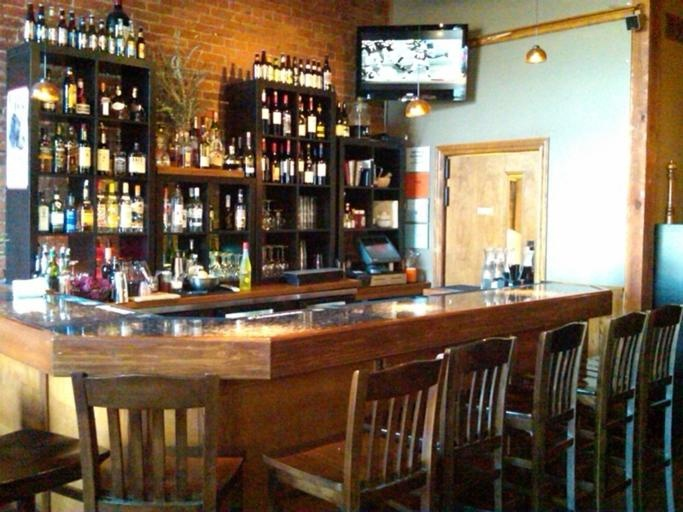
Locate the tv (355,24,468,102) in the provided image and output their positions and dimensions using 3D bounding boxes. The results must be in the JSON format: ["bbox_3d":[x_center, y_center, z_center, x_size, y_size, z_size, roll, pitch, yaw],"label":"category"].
[{"bbox_3d":[0.733,-1.929,6.319,1.118,0.735,0.119,1,6,10],"label":"tv"}]

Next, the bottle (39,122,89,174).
[{"bbox_3d":[-1.989,-0.765,4.543,0.351,0.355,0.202,-5,4,-38],"label":"bottle"}]

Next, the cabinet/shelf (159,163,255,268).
[{"bbox_3d":[-1.133,-0.244,5.246,0.836,0.823,0.261,-1,6,-22],"label":"cabinet/shelf"}]

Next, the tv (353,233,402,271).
[{"bbox_3d":[0.345,-0.016,6.372,0.372,0.365,0.298,-5,6,-37],"label":"tv"}]

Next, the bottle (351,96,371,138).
[{"bbox_3d":[0.183,-1.405,6.625,0.223,0.352,0.222,1,11,0],"label":"bottle"}]

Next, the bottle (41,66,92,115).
[{"bbox_3d":[-1.982,-1.195,4.577,0.306,0.394,0.376,-4,4,-20],"label":"bottle"}]

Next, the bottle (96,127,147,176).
[{"bbox_3d":[-1.650,-0.773,4.769,0.390,0.370,0.128,-2,3,-45],"label":"bottle"}]

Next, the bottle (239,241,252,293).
[{"bbox_3d":[-0.808,0.085,5.253,0.096,0.384,0.184,-3,3,-9],"label":"bottle"}]

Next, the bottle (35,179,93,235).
[{"bbox_3d":[-1.962,-0.331,4.581,0.381,0.379,0.384,2,0,4],"label":"bottle"}]

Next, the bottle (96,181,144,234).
[{"bbox_3d":[-1.666,-0.351,4.768,0.392,0.540,0.157,1,-2,-35],"label":"bottle"}]

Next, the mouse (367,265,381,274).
[{"bbox_3d":[0.314,0.138,6.221,0.077,0.075,0.108,-4,-3,40],"label":"mouse"}]

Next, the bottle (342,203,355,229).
[{"bbox_3d":[0.081,-0.391,6.323,0.097,0.245,0.235,-2,4,7],"label":"bottle"}]

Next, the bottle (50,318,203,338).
[{"bbox_3d":[-1.006,0.337,3.011,0.664,0.055,0.392,-3,4,-7],"label":"bottle"}]

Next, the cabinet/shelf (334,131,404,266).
[{"bbox_3d":[0.280,-0.538,6.501,0.761,1.379,0.336,8,-3,36],"label":"cabinet/shelf"}]

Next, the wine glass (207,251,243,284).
[{"bbox_3d":[-0.979,0.108,5.303,0.263,0.236,0.106,1,-3,-35],"label":"wine glass"}]

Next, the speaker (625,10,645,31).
[{"bbox_3d":[2.425,-1.949,5.266,0.125,0.163,0.134,0,4,35],"label":"speaker"}]

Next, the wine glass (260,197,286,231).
[{"bbox_3d":[-0.613,-0.370,5.746,0.197,0.276,0.445,-3,4,-3],"label":"wine glass"}]

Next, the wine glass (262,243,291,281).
[{"bbox_3d":[-0.631,0.042,5.743,0.263,0.265,0.269,2,4,43],"label":"wine glass"}]
